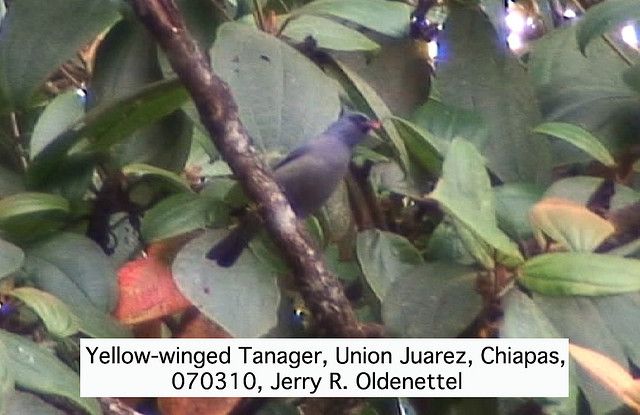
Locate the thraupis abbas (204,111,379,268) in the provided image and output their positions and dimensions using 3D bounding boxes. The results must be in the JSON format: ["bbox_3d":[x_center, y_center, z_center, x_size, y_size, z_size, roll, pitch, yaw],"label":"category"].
[{"bbox_3d":[-0.054,-0.029,1.199,0.253,0.077,0.146,-28,52,8],"label":"thraupis abbas"}]
